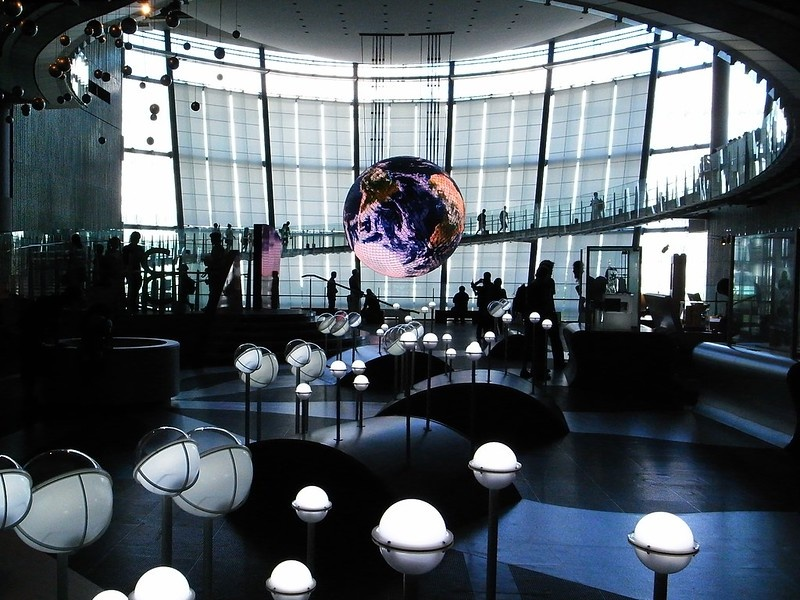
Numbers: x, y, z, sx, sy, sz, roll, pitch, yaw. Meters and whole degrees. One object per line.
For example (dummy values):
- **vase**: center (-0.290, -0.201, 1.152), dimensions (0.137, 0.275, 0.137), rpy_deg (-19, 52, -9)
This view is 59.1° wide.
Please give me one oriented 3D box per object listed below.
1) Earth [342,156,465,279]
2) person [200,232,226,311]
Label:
- **Earth**: center (0.083, -1.069, 9.479), dimensions (1.664, 1.687, 1.615), rpy_deg (-10, 4, -41)
- **person**: center (-4.628, -0.708, 17.543), dimensions (0.471, 1.962, 0.839), rpy_deg (4, 10, 20)
